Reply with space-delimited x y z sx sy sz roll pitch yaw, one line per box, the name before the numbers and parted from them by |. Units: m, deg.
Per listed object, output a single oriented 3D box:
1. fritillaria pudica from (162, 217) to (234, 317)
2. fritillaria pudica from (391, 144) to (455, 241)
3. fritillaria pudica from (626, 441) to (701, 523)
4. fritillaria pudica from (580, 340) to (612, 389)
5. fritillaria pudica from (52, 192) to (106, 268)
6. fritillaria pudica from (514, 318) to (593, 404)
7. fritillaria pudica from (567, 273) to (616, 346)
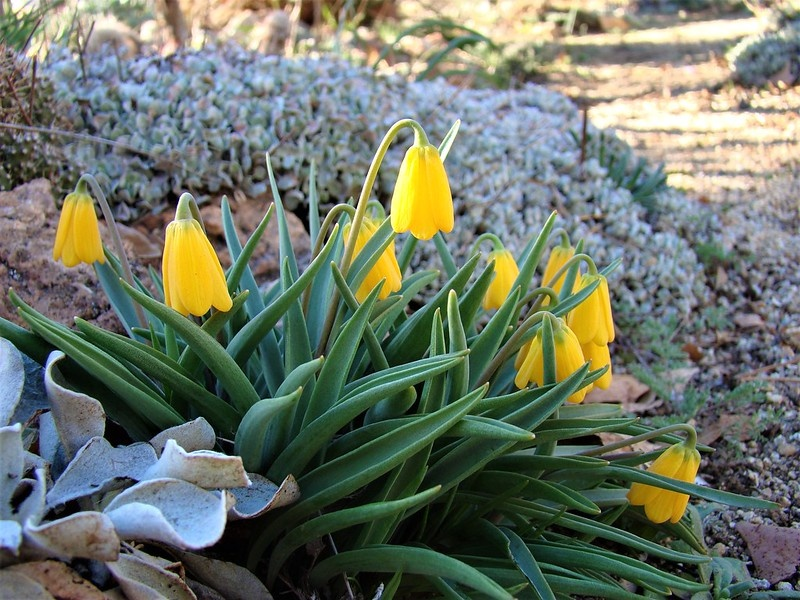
fritillaria pudica | -0.601 -0.092 2.208 0.161 0.280 0.189 -5 -1 -33
fritillaria pudica | 0.069 -0.317 2.280 0.183 0.288 0.201 -7 -11 24
fritillaria pudica | 0.857 0.604 2.484 0.146 0.197 0.299 16 45 15
fritillaria pudica | 0.660 0.228 2.481 0.065 0.124 0.039 10 17 32
fritillaria pudica | -0.991 -0.205 2.372 0.132 0.298 0.201 1 28 -17
fritillaria pudica | 0.483 0.156 2.377 0.241 0.295 0.233 -6 48 3
fritillaria pudica | 0.628 0.036 2.470 0.149 0.210 0.148 13 -10 -32
